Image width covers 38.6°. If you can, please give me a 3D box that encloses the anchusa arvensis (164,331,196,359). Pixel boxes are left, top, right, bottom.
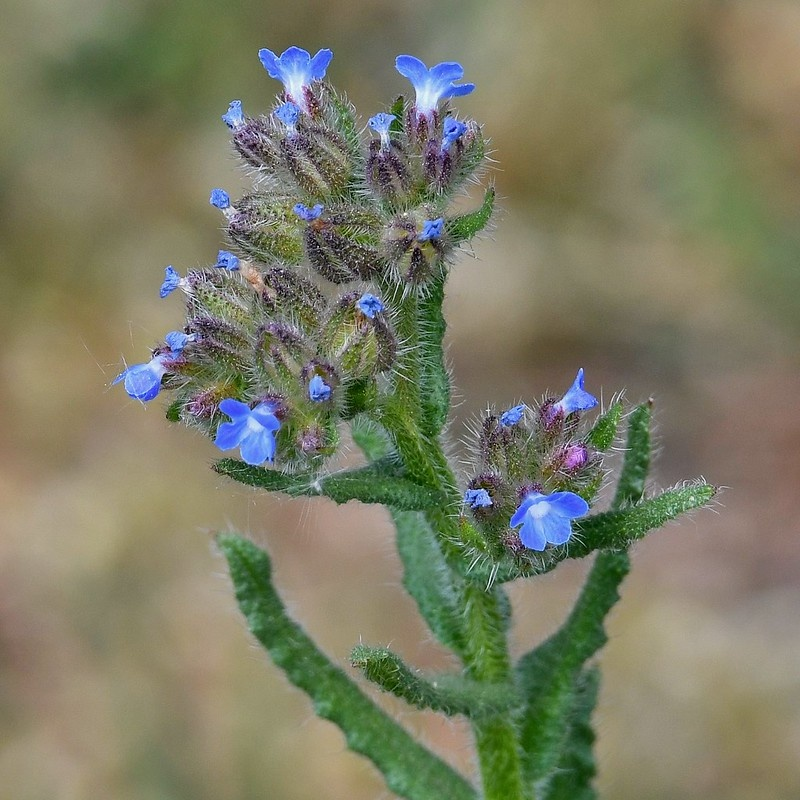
[{"bbox_3d":[-0.761,-0.198,3.945,0.094,0.049,0.082,-30,60,-7],"label":"anchusa arvensis"}]

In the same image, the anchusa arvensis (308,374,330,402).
[{"bbox_3d":[-0.269,-0.033,3.893,0.038,0.073,0.085,15,5,24],"label":"anchusa arvensis"}]

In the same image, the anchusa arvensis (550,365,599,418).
[{"bbox_3d":[0.603,-0.060,3.991,0.145,0.157,0.293,5,28,3],"label":"anchusa arvensis"}]

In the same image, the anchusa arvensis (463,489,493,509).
[{"bbox_3d":[0.264,0.339,3.852,0.070,0.068,0.037,9,-3,4],"label":"anchusa arvensis"}]

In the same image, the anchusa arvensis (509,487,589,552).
[{"bbox_3d":[0.479,0.388,3.688,0.239,0.178,0.148,14,22,37],"label":"anchusa arvensis"}]

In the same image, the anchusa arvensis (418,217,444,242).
[{"bbox_3d":[0.123,-0.605,4.021,0.073,0.077,0.146,6,19,17],"label":"anchusa arvensis"}]

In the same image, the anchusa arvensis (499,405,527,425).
[{"bbox_3d":[0.396,0.057,3.972,0.035,0.089,0.057,33,29,-37],"label":"anchusa arvensis"}]

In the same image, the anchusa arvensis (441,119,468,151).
[{"bbox_3d":[0.188,-0.960,4.068,0.041,0.113,0.076,4,35,-43],"label":"anchusa arvensis"}]

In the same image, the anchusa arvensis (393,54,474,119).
[{"bbox_3d":[0.133,-1.141,4.081,0.226,0.115,0.226,34,49,18],"label":"anchusa arvensis"}]

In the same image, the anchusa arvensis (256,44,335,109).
[{"bbox_3d":[-0.391,-1.170,4.306,0.245,0.119,0.389,3,-18,-3],"label":"anchusa arvensis"}]

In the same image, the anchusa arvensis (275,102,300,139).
[{"bbox_3d":[-0.399,-1.022,4.164,0.082,0.119,0.132,-12,21,-35],"label":"anchusa arvensis"}]

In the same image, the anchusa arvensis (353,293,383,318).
[{"bbox_3d":[-0.106,-0.312,3.970,0.071,0.092,0.038,4,-11,-5],"label":"anchusa arvensis"}]

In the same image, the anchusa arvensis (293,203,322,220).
[{"bbox_3d":[-0.323,-0.666,4.082,0.101,0.061,0.055,-2,17,-7],"label":"anchusa arvensis"}]
